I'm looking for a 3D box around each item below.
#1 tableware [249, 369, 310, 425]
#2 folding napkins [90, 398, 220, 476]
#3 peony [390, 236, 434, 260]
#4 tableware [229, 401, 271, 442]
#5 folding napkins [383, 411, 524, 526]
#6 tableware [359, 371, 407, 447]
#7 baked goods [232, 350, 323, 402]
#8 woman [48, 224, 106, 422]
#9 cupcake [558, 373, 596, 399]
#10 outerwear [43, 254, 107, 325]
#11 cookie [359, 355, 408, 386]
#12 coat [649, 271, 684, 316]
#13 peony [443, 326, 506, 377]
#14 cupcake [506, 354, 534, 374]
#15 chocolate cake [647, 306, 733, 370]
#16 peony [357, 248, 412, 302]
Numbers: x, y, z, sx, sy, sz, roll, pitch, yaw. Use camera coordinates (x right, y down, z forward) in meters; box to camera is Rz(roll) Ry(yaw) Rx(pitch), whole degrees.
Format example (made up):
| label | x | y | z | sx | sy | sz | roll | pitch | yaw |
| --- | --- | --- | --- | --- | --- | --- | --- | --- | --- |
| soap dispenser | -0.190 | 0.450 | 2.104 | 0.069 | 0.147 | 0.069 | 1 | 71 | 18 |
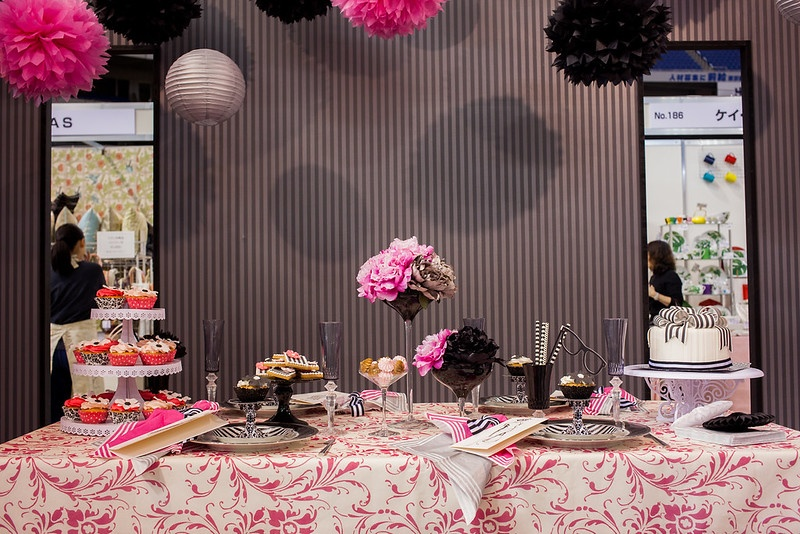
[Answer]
| label | x | y | z | sx | sy | sz | roll | pitch | yaw |
| --- | --- | --- | --- | --- | --- | --- | --- | --- | --- |
| tableware | -0.567 | 0.624 | 4.593 | 0.240 | 0.295 | 0.243 | 2 | 1 | 1 |
| folding napkins | -1.046 | 0.726 | 4.245 | 0.286 | 0.121 | 0.367 | 22 | 29 | 39 |
| peony | 0.056 | -0.098 | 4.708 | 0.126 | 0.071 | 0.144 | 7 | 9 | -1 |
| tableware | -0.696 | 0.692 | 4.387 | 0.218 | 0.197 | 0.215 | 2 | -8 | -44 |
| folding napkins | 0.233 | 0.817 | 4.226 | 0.418 | 0.144 | 0.445 | 22 | 37 | 35 |
| tableware | -0.104 | 0.674 | 4.595 | 0.250 | 0.384 | 0.256 | 1 | -10 | -11 |
| baked goods | -0.571 | 0.512 | 4.572 | 0.400 | 0.203 | 0.407 | 0 | 1 | -7 |
| woman | -2.601 | 0.455 | 7.483 | 0.411 | 1.722 | 0.509 | 0 | 19 | -20 |
| cupcake | 0.803 | 0.536 | 4.333 | 0.116 | 0.079 | 0.117 | 5 | -9 | -32 |
| outerwear | -2.325 | 0.162 | 6.820 | 0.421 | 0.444 | 0.245 | 0 | 15 | -16 |
| cookie | -0.075 | 0.481 | 4.552 | 0.158 | 0.119 | 0.157 | 0 | 1 | -35 |
| coat | 2.097 | 0.201 | 7.625 | 0.166 | 0.328 | 0.288 | -6 | 12 | -29 |
| peony | 0.364 | 0.387 | 4.556 | 0.258 | 0.162 | 0.253 | 3 | -5 | -28 |
| cupcake | 0.575 | 0.476 | 4.709 | 0.089 | 0.064 | 0.094 | 2 | -1 | 34 |
| chocolate cake | 1.390 | 0.351 | 4.730 | 0.292 | 0.215 | 0.317 | 0 | -3 | -6 |
| peony | -0.067 | 0.031 | 4.612 | 0.272 | 0.249 | 0.102 | 0 | 1 | -1 |
